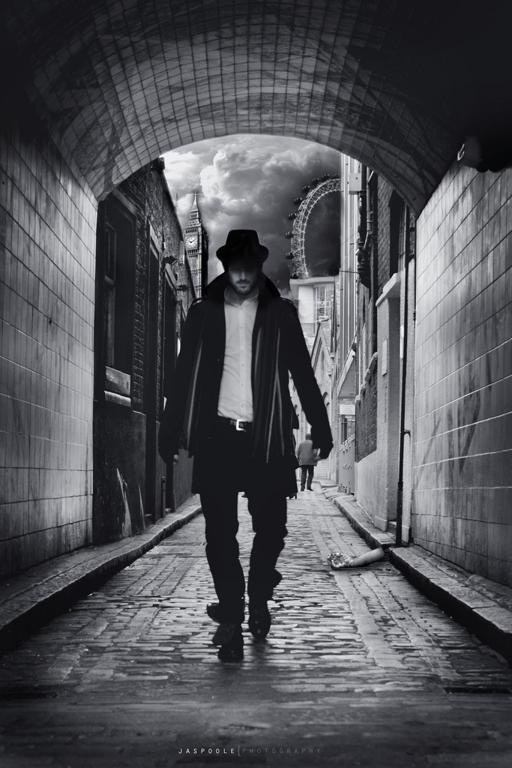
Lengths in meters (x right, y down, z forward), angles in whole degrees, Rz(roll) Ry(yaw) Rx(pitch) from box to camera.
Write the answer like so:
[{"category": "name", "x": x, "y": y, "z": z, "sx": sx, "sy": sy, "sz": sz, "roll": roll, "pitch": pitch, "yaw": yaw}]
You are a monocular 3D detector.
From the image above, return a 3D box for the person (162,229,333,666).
[{"category": "person", "x": -0.059, "y": 0.268, "z": 3.563, "sx": 0.793, "sy": 1.947, "sz": 0.398, "roll": 1, "pitch": -5, "yaw": -15}]

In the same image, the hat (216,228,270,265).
[{"category": "hat", "x": -0.068, "y": -0.628, "z": 3.557, "sx": 0.239, "sy": 0.176, "sz": 0.182, "roll": -1, "pitch": -7, "yaw": -5}]

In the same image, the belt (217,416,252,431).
[{"category": "belt", "x": -0.099, "y": 0.182, "z": 3.424, "sx": 0.149, "sy": 0.077, "sz": 0.047, "roll": -1, "pitch": -6, "yaw": -6}]

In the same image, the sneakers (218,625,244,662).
[{"category": "sneakers", "x": -0.110, "y": 1.148, "z": 3.358, "sx": 0.114, "sy": 0.142, "sz": 0.157, "roll": -1, "pitch": -8, "yaw": -5}]
